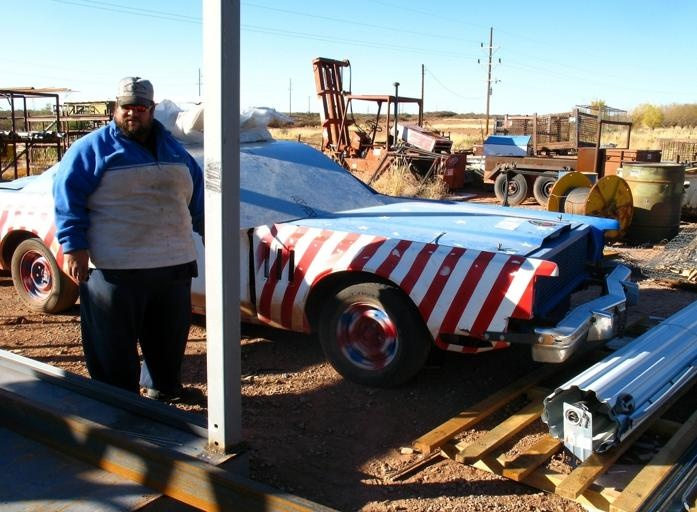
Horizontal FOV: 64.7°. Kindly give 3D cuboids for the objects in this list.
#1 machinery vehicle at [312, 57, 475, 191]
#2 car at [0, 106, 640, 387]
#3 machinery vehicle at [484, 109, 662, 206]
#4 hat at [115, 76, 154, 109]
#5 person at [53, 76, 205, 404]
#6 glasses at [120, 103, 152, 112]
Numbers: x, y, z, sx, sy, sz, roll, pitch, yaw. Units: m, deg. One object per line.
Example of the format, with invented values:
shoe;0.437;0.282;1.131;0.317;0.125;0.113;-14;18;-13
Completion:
machinery vehicle;1.239;-4.424;18.820;5.212;4.262;2.857;11;18;29
car;-0.715;0.047;5.264;5.927;1.751;2.686;9;20;26
machinery vehicle;5.597;-3.238;16.916;4.471;2.473;2.630;8;21;0
hat;-1.264;-0.955;3.241;0.211;0.163;0.134;-6;16;-22
person;-1.346;-0.002;3.494;0.861;2.133;0.366;-8;17;-26
glasses;-1.252;-0.861;3.243;0.069;0.027;0.081;6;0;37
